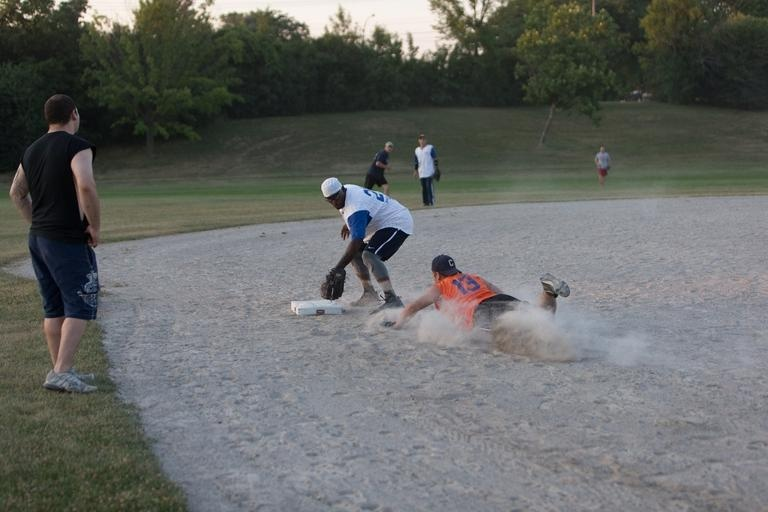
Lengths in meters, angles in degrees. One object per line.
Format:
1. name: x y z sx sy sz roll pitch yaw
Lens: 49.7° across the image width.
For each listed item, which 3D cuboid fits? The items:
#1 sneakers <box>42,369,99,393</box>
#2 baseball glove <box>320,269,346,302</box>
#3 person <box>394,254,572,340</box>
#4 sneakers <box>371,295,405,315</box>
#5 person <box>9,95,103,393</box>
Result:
1. sneakers: -3.537 1.434 9.447 0.680 0.289 0.245 2 4 -12
2. baseball glove: -0.737 0.457 12.083 0.282 0.463 0.255 18 27 -17
3. person: 1.215 0.537 10.645 1.069 0.571 1.560 -18 19 -35
4. sneakers: 0.095 0.708 11.867 0.597 0.253 0.196 -7 4 13
5. person: -3.622 -0.137 9.385 0.817 3.285 0.913 -5 12 -20
